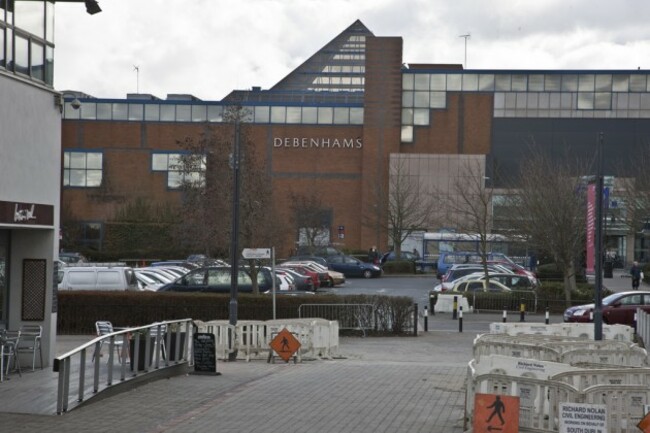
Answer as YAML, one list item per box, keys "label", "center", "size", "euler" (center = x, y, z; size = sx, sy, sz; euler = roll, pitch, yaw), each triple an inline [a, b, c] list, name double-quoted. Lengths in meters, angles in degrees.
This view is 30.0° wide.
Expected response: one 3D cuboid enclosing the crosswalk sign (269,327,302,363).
- label: "crosswalk sign"
  center: [-1.417, 4.644, 44.086]
  size: [1.098, 1.272, 0.946]
  euler: [-1, -3, -2]
